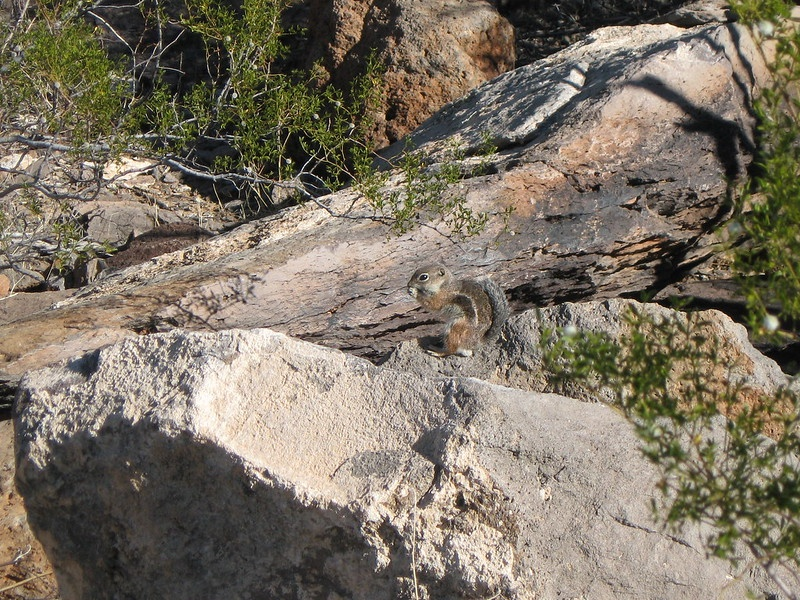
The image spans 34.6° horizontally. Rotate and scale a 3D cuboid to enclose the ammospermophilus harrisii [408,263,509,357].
[{"bbox_3d":[0.435,0.034,9.029,0.729,0.635,0.462,12,21,18],"label":"ammospermophilus harrisii"}]
